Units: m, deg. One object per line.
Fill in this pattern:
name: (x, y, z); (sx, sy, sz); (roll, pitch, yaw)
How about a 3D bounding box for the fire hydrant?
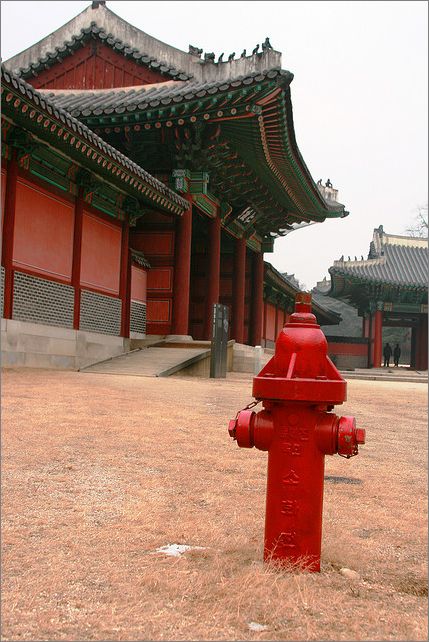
fire hydrant: (0.305, 0.376, 1.970); (0.487, 0.988, 0.328); (1, -3, 17)
